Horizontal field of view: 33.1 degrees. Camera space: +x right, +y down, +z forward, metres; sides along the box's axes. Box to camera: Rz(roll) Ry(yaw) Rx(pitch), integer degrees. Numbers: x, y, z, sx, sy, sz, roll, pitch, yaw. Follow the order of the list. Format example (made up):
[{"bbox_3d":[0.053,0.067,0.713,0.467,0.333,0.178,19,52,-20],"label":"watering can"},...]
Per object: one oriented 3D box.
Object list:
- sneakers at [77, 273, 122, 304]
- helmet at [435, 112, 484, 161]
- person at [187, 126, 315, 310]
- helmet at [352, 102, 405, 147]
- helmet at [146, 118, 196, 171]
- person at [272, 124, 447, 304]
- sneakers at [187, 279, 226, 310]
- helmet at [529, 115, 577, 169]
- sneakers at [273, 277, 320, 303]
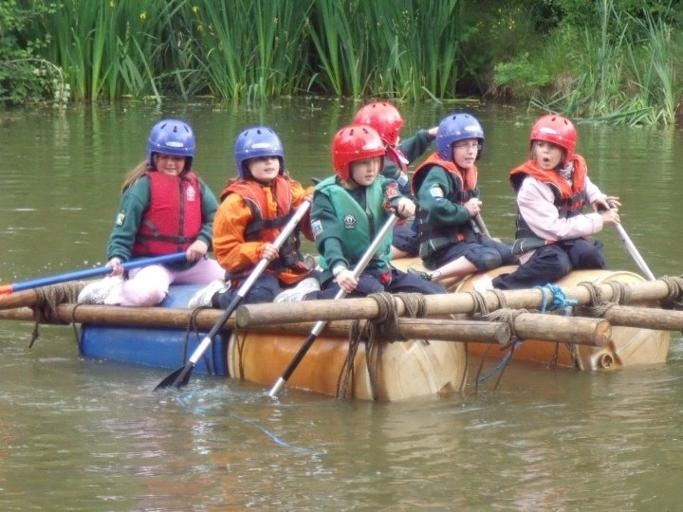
[{"bbox_3d":[-1.752,0.249,8.361,0.296,0.124,0.196,-9,31,28],"label":"sneakers"},{"bbox_3d":[0.893,-0.894,8.680,0.314,0.336,0.361,-4,9,-38],"label":"helmet"},{"bbox_3d":[-0.505,-0.259,8.114,0.914,1.312,1.056,-9,11,-11],"label":"person"},{"bbox_3d":[0.303,-1.054,9.284,0.306,0.363,0.393,12,28,36],"label":"helmet"},{"bbox_3d":[-1.207,-0.826,8.255,0.247,0.270,0.344,3,15,-9],"label":"helmet"},{"bbox_3d":[0.236,-0.278,7.591,0.804,1.149,0.911,-3,9,-5],"label":"person"},{"bbox_3d":[-0.930,0.275,8.014,0.129,0.163,0.348,5,5,-20],"label":"sneakers"},{"bbox_3d":[1.518,-0.832,8.170,0.320,0.345,0.289,-1,5,-3],"label":"helmet"},{"bbox_3d":[-0.289,0.201,7.774,0.259,0.095,0.145,-26,6,-7],"label":"sneakers"}]
